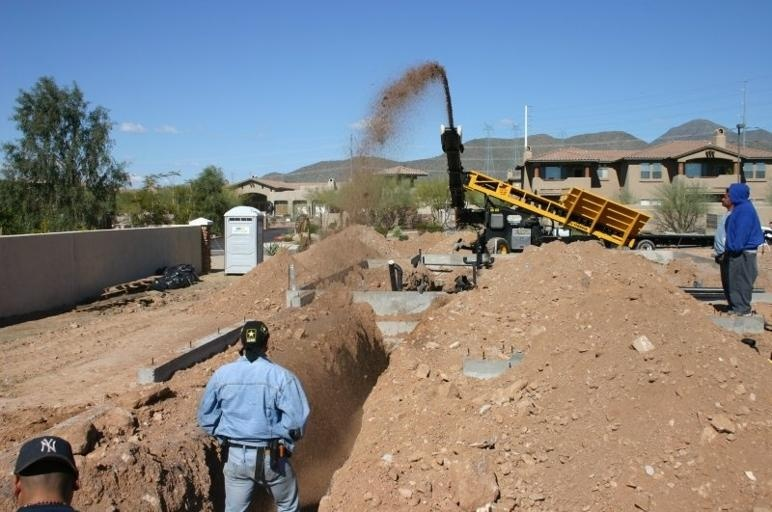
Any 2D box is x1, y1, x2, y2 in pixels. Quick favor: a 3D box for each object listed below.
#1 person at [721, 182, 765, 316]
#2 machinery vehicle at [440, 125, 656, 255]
[{"bbox_3d":[5.761,-0.097,9.913,0.547,2.178,0.730,3,10,32],"label":"person"},{"bbox_3d":[4.571,-2.032,17.507,5.817,3.080,1.746,7,11,-7],"label":"machinery vehicle"}]
